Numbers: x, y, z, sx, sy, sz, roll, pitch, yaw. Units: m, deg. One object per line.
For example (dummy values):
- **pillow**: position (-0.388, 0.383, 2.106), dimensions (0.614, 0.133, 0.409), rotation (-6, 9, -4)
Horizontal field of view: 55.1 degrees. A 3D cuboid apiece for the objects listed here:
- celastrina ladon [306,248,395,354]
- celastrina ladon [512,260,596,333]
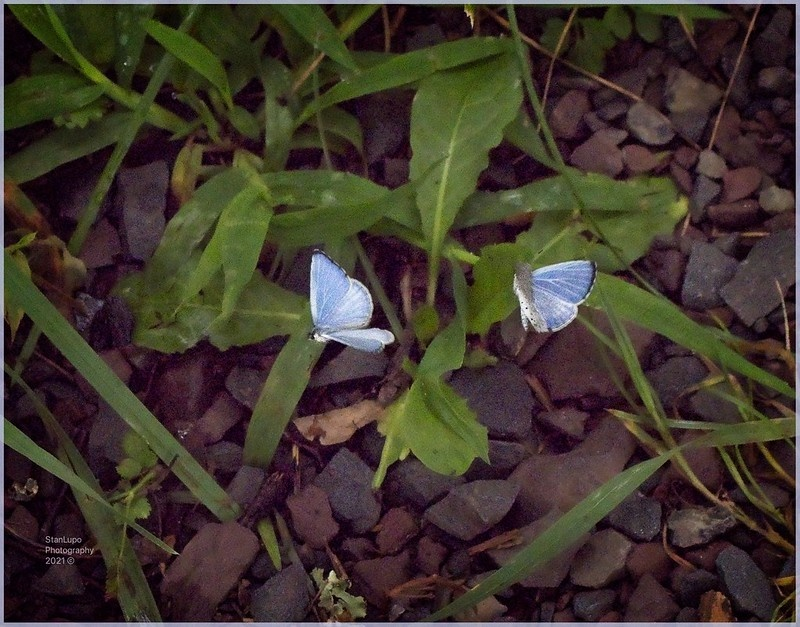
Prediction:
- **celastrina ladon**: position (-0.081, -0.039, 1.482), dimensions (0.147, 0.206, 0.102), rotation (7, 35, 9)
- **celastrina ladon**: position (0.304, -0.046, 1.438), dimensions (0.090, 0.174, 0.124), rotation (-12, 88, -43)
